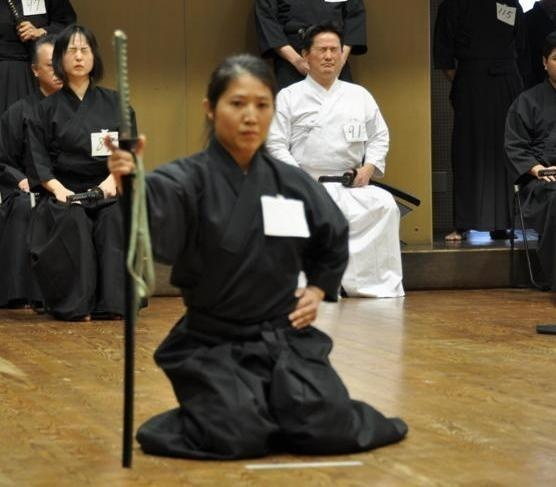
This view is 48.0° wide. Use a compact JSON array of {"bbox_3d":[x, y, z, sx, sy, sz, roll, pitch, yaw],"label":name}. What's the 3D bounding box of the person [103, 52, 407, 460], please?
[{"bbox_3d":[-0.092,0.033,1.599,0.927,0.971,0.496,-3,7,-41],"label":"person"}]
